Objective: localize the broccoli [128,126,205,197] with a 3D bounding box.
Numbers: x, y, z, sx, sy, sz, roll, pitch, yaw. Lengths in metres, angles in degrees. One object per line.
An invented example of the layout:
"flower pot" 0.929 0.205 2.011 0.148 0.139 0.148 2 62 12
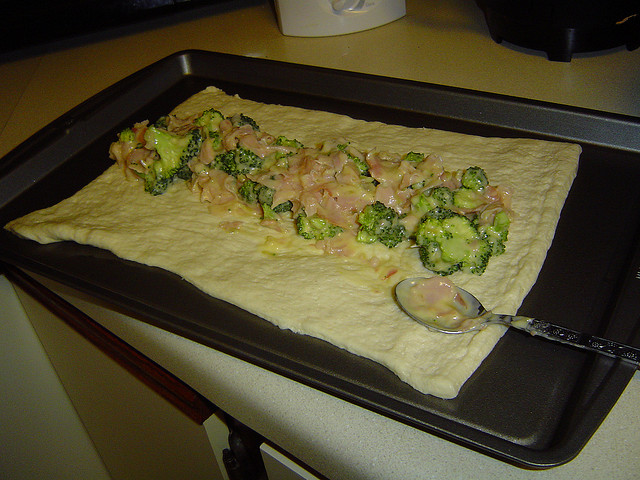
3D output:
"broccoli" -0.391 -0.207 1.283 0.186 0.061 0.199 45 109 14

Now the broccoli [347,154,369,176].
"broccoli" 0.088 -0.173 1.107 0.036 0.014 0.057 -32 83 -25

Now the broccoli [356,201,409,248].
"broccoli" 0.138 -0.034 1.031 0.115 0.071 0.075 5 60 13

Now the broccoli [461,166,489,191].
"broccoli" 0.350 -0.138 1.048 0.055 0.014 0.053 3 72 5

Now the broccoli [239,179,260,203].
"broccoli" -0.175 -0.120 1.132 0.049 0.015 0.052 3 94 32

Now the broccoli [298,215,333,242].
"broccoli" -0.010 -0.026 1.055 0.075 0.043 0.034 4 60 12

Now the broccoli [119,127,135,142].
"broccoli" -0.535 -0.288 1.288 0.036 0.015 0.035 22 88 1

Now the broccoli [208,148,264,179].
"broccoli" -0.192 -0.191 1.196 0.121 0.039 0.074 3 94 10

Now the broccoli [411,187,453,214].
"broccoli" 0.239 -0.091 0.993 0.079 0.021 0.049 3 69 4

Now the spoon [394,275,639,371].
"spoon" 0.271 0.142 0.887 0.543 0.038 0.143 11 55 27
